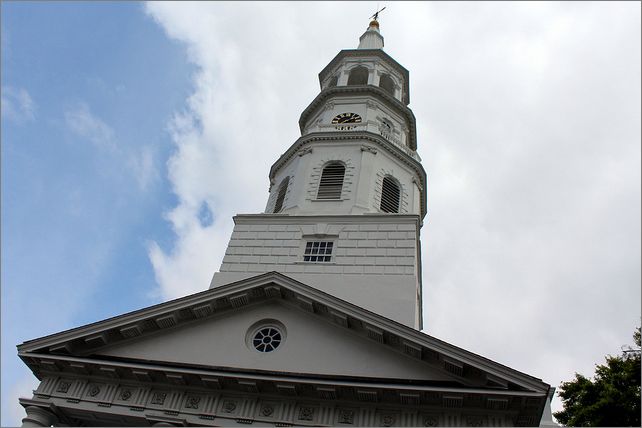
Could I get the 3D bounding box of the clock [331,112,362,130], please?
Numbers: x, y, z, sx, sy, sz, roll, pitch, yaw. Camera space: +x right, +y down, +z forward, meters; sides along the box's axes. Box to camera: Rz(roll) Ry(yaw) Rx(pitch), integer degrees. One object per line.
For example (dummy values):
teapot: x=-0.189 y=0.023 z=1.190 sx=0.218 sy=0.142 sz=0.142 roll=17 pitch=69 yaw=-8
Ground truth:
clock: x=1.970 y=-6.824 z=43.930 sx=2.348 sy=2.209 sz=0.313 roll=-2 pitch=-53 yaw=6
